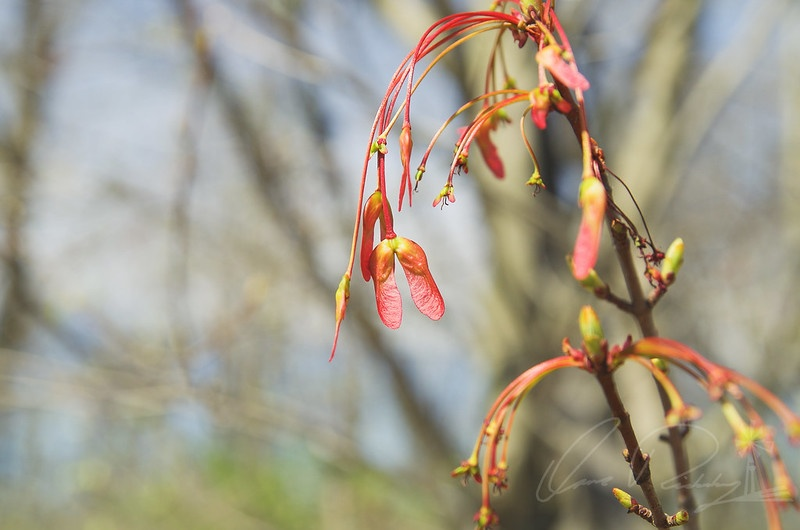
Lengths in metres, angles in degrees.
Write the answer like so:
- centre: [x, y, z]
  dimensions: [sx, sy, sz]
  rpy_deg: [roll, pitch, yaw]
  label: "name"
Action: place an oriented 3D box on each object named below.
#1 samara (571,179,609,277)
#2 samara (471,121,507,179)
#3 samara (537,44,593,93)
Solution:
- centre: [0.328, -0.063, 2.058]
  dimensions: [0.045, 0.185, 0.043]
  rpy_deg: [6, -1, 0]
  label: "samara"
- centre: [0.171, -0.216, 2.306]
  dimensions: [0.015, 0.041, 0.130]
  rpy_deg: [11, -57, 51]
  label: "samara"
- centre: [0.284, -0.335, 2.073]
  dimensions: [0.103, 0.058, 0.023]
  rpy_deg: [51, -46, 2]
  label: "samara"
